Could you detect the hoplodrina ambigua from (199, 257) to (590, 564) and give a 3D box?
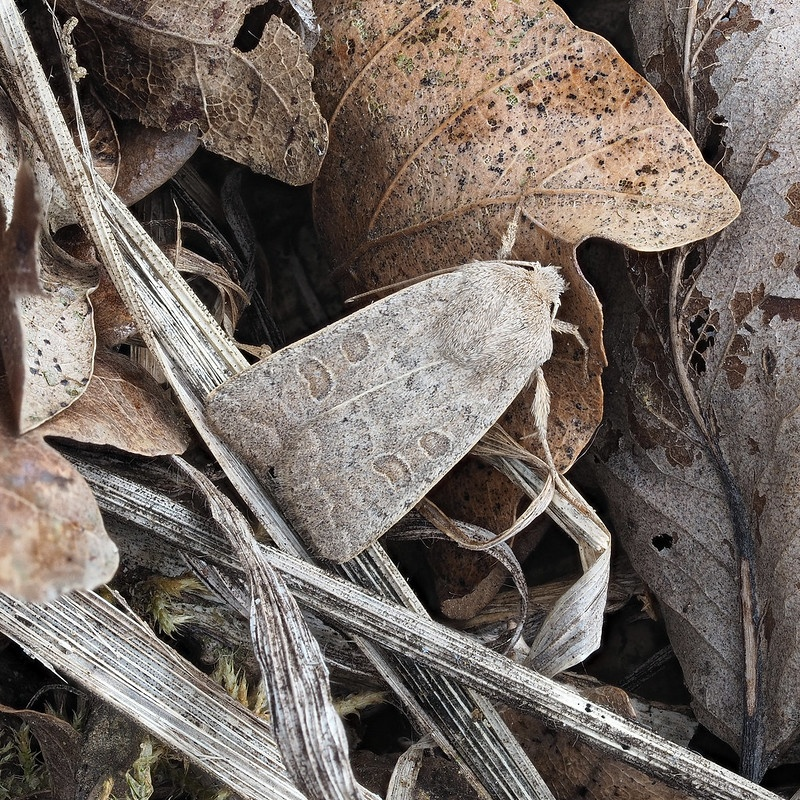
[{"bbox_3d":[-0.017,-0.002,1.262,0.419,0.268,0.107,-37,8,2],"label":"hoplodrina ambigua"}]
